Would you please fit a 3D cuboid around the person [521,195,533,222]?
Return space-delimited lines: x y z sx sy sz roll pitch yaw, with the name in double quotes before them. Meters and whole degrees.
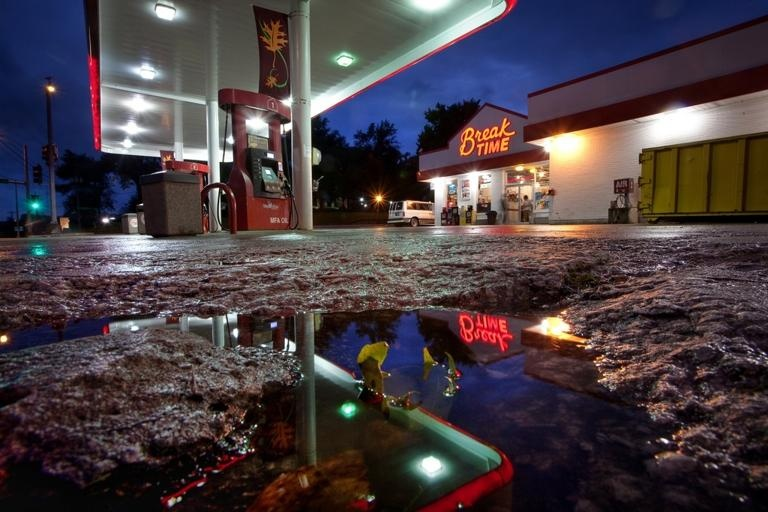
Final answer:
"person" 7.301 -2.425 21.719 0.521 1.234 1.896 2 13 16

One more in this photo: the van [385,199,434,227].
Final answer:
"van" 1.715 -2.539 24.744 2.892 1.067 1.383 -11 14 -41

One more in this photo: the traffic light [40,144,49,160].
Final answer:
"traffic light" -16.129 -4.916 20.328 0.276 0.646 1.041 -11 16 -37

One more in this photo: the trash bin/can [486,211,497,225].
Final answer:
"trash bin/can" 5.524 -1.982 21.741 0.661 0.720 0.655 -1 -4 -1
